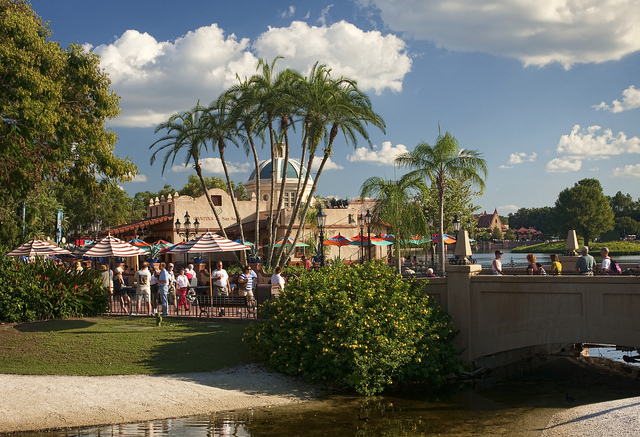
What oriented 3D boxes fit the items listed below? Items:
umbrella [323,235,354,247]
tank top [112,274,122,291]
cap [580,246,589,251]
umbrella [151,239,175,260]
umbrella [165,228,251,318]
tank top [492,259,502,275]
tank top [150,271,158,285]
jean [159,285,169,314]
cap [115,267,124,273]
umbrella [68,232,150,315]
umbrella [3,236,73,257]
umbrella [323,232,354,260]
[{"bbox_3d":[1.185,1.442,55.534,1.983,0.706,0.679,3,9,33],"label":"umbrella"},{"bbox_3d":[-9.694,3.138,40.906,0.563,0.765,0.403,1,-14,-16],"label":"tank top"},{"bbox_3d":[11.392,1.316,37.007,0.230,0.188,0.236,7,9,38],"label":"cap"},{"bbox_3d":[-9.837,1.823,52.586,1.801,1.205,1.848,-6,-3,-5],"label":"umbrella"},{"bbox_3d":[-5.683,2.176,42.241,2.889,3.006,3.035,-4,14,13],"label":"umbrella"},{"bbox_3d":[7.570,2.094,36.777,0.332,0.616,0.503,-8,11,-9],"label":"tank top"},{"bbox_3d":[-7.986,2.800,41.060,0.345,0.723,1.123,-4,8,-13],"label":"tank top"},{"bbox_3d":[-7.219,3.724,39.641,0.389,1.307,0.447,-3,8,-10],"label":"jean"},{"bbox_3d":[-9.735,2.561,41.491,0.191,0.363,0.368,-7,8,-34],"label":"cap"},{"bbox_3d":[-10.213,2.812,41.555,3.500,3.907,3.767,0,4,-9],"label":"umbrella"},{"bbox_3d":[-14.125,1.563,42.640,2.234,0.914,1.997,0,8,12],"label":"umbrella"},{"bbox_3d":[1.218,2.002,59.959,1.887,1.745,1.950,0,-3,-3],"label":"umbrella"}]
